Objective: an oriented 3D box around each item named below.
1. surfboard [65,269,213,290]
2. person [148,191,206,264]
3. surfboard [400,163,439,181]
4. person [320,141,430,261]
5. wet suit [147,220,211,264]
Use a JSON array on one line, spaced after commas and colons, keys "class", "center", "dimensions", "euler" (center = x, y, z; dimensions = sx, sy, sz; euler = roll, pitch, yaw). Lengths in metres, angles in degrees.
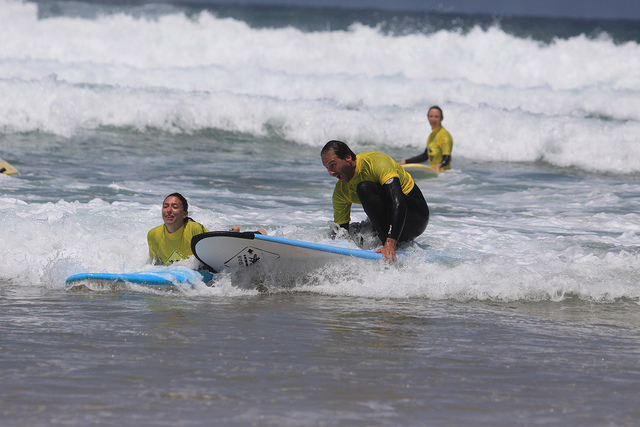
[{"class": "surfboard", "center": [-2.879, 1.051, 15.440], "dimensions": [2.225, 0.261, 0.359], "euler": [1, 8, -12]}, {"class": "person", "center": [-2.366, 0.263, 15.944], "dimensions": [0.896, 1.163, 0.239], "euler": [3, 10, -7]}, {"class": "surfboard", "center": [2.119, -0.767, 20.514], "dimensions": [0.598, 0.115, 0.565], "euler": [11, -7, 35]}, {"class": "person", "center": [0.908, -0.230, 16.120], "dimensions": [1.558, 1.854, 1.157], "euler": [6, 9, 15]}, {"class": "wet suit", "center": [-2.323, 0.460, 16.097], "dimensions": [1.156, 0.620, 0.503], "euler": [-5, 15, 8]}]
